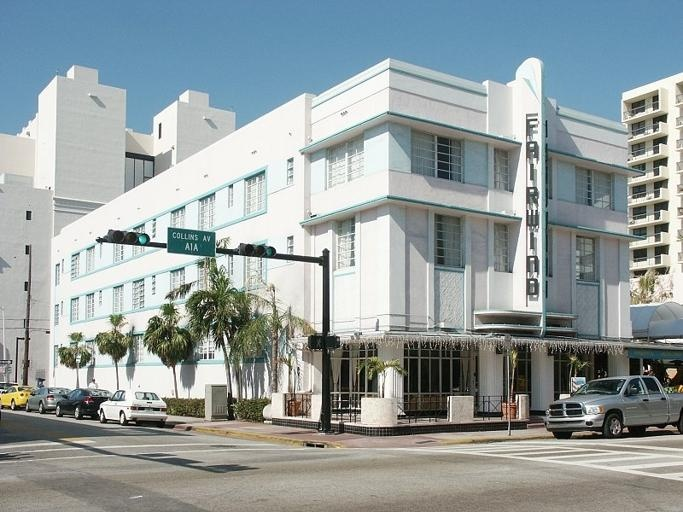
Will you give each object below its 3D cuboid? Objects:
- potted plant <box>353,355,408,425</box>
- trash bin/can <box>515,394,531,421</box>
[{"bbox_3d":[1.818,5.760,37.738,2.426,3.336,2.471,8,-13,-43],"label":"potted plant"},{"bbox_3d":[7.920,6.589,38.998,0.531,1.171,1.043,-3,-14,8],"label":"trash bin/can"}]
